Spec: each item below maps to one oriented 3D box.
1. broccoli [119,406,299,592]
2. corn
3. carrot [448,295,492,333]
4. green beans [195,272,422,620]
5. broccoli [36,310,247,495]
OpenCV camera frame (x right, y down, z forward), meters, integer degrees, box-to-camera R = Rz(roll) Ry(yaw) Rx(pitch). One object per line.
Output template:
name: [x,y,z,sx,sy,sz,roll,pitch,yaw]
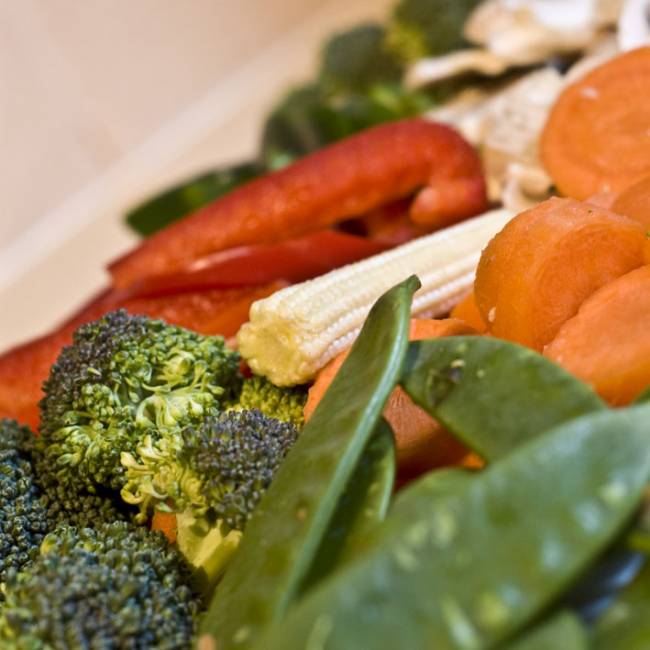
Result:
broccoli: [-0.112,0.144,0.696,0.160,0.160,0.118,-3,10,-2]
corn: [0.145,-0.056,0.940,0.501,0.132,0.131,-28,20,-35]
carrot: [0.160,-0.009,0.775,0.041,0.010,0.039,-3,55,59]
green beans: [0.001,0.079,0.500,0.041,0.029,0.252,25,78,17]
broccoli: [-0.214,0.081,0.767,0.166,0.109,0.179,28,44,4]
